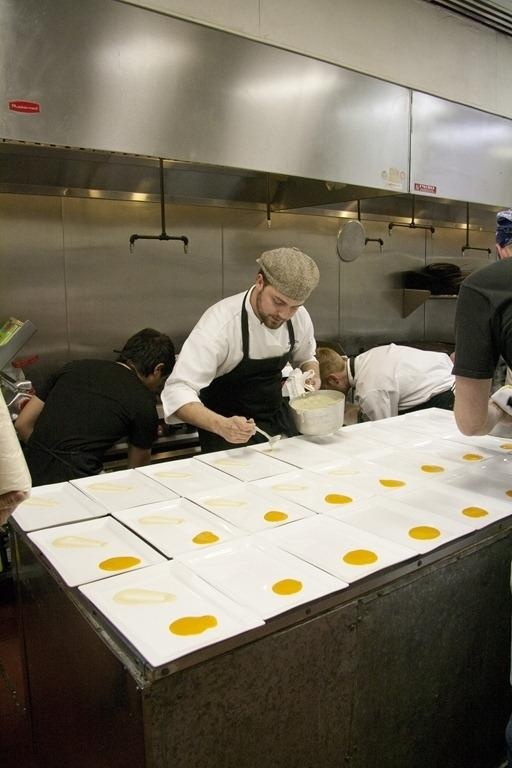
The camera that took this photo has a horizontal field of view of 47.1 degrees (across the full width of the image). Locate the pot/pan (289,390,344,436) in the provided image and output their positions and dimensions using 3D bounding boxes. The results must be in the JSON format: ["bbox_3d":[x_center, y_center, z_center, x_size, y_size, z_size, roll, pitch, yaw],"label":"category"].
[{"bbox_3d":[0.199,0.092,1.909,0.163,0.106,0.161,-11,15,-4],"label":"pot/pan"}]

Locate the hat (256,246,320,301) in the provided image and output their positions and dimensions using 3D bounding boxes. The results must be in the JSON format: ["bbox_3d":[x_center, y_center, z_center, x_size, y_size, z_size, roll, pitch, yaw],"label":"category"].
[{"bbox_3d":[0.113,-0.373,2.040,0.177,0.197,0.200,-5,11,-26],"label":"hat"}]
